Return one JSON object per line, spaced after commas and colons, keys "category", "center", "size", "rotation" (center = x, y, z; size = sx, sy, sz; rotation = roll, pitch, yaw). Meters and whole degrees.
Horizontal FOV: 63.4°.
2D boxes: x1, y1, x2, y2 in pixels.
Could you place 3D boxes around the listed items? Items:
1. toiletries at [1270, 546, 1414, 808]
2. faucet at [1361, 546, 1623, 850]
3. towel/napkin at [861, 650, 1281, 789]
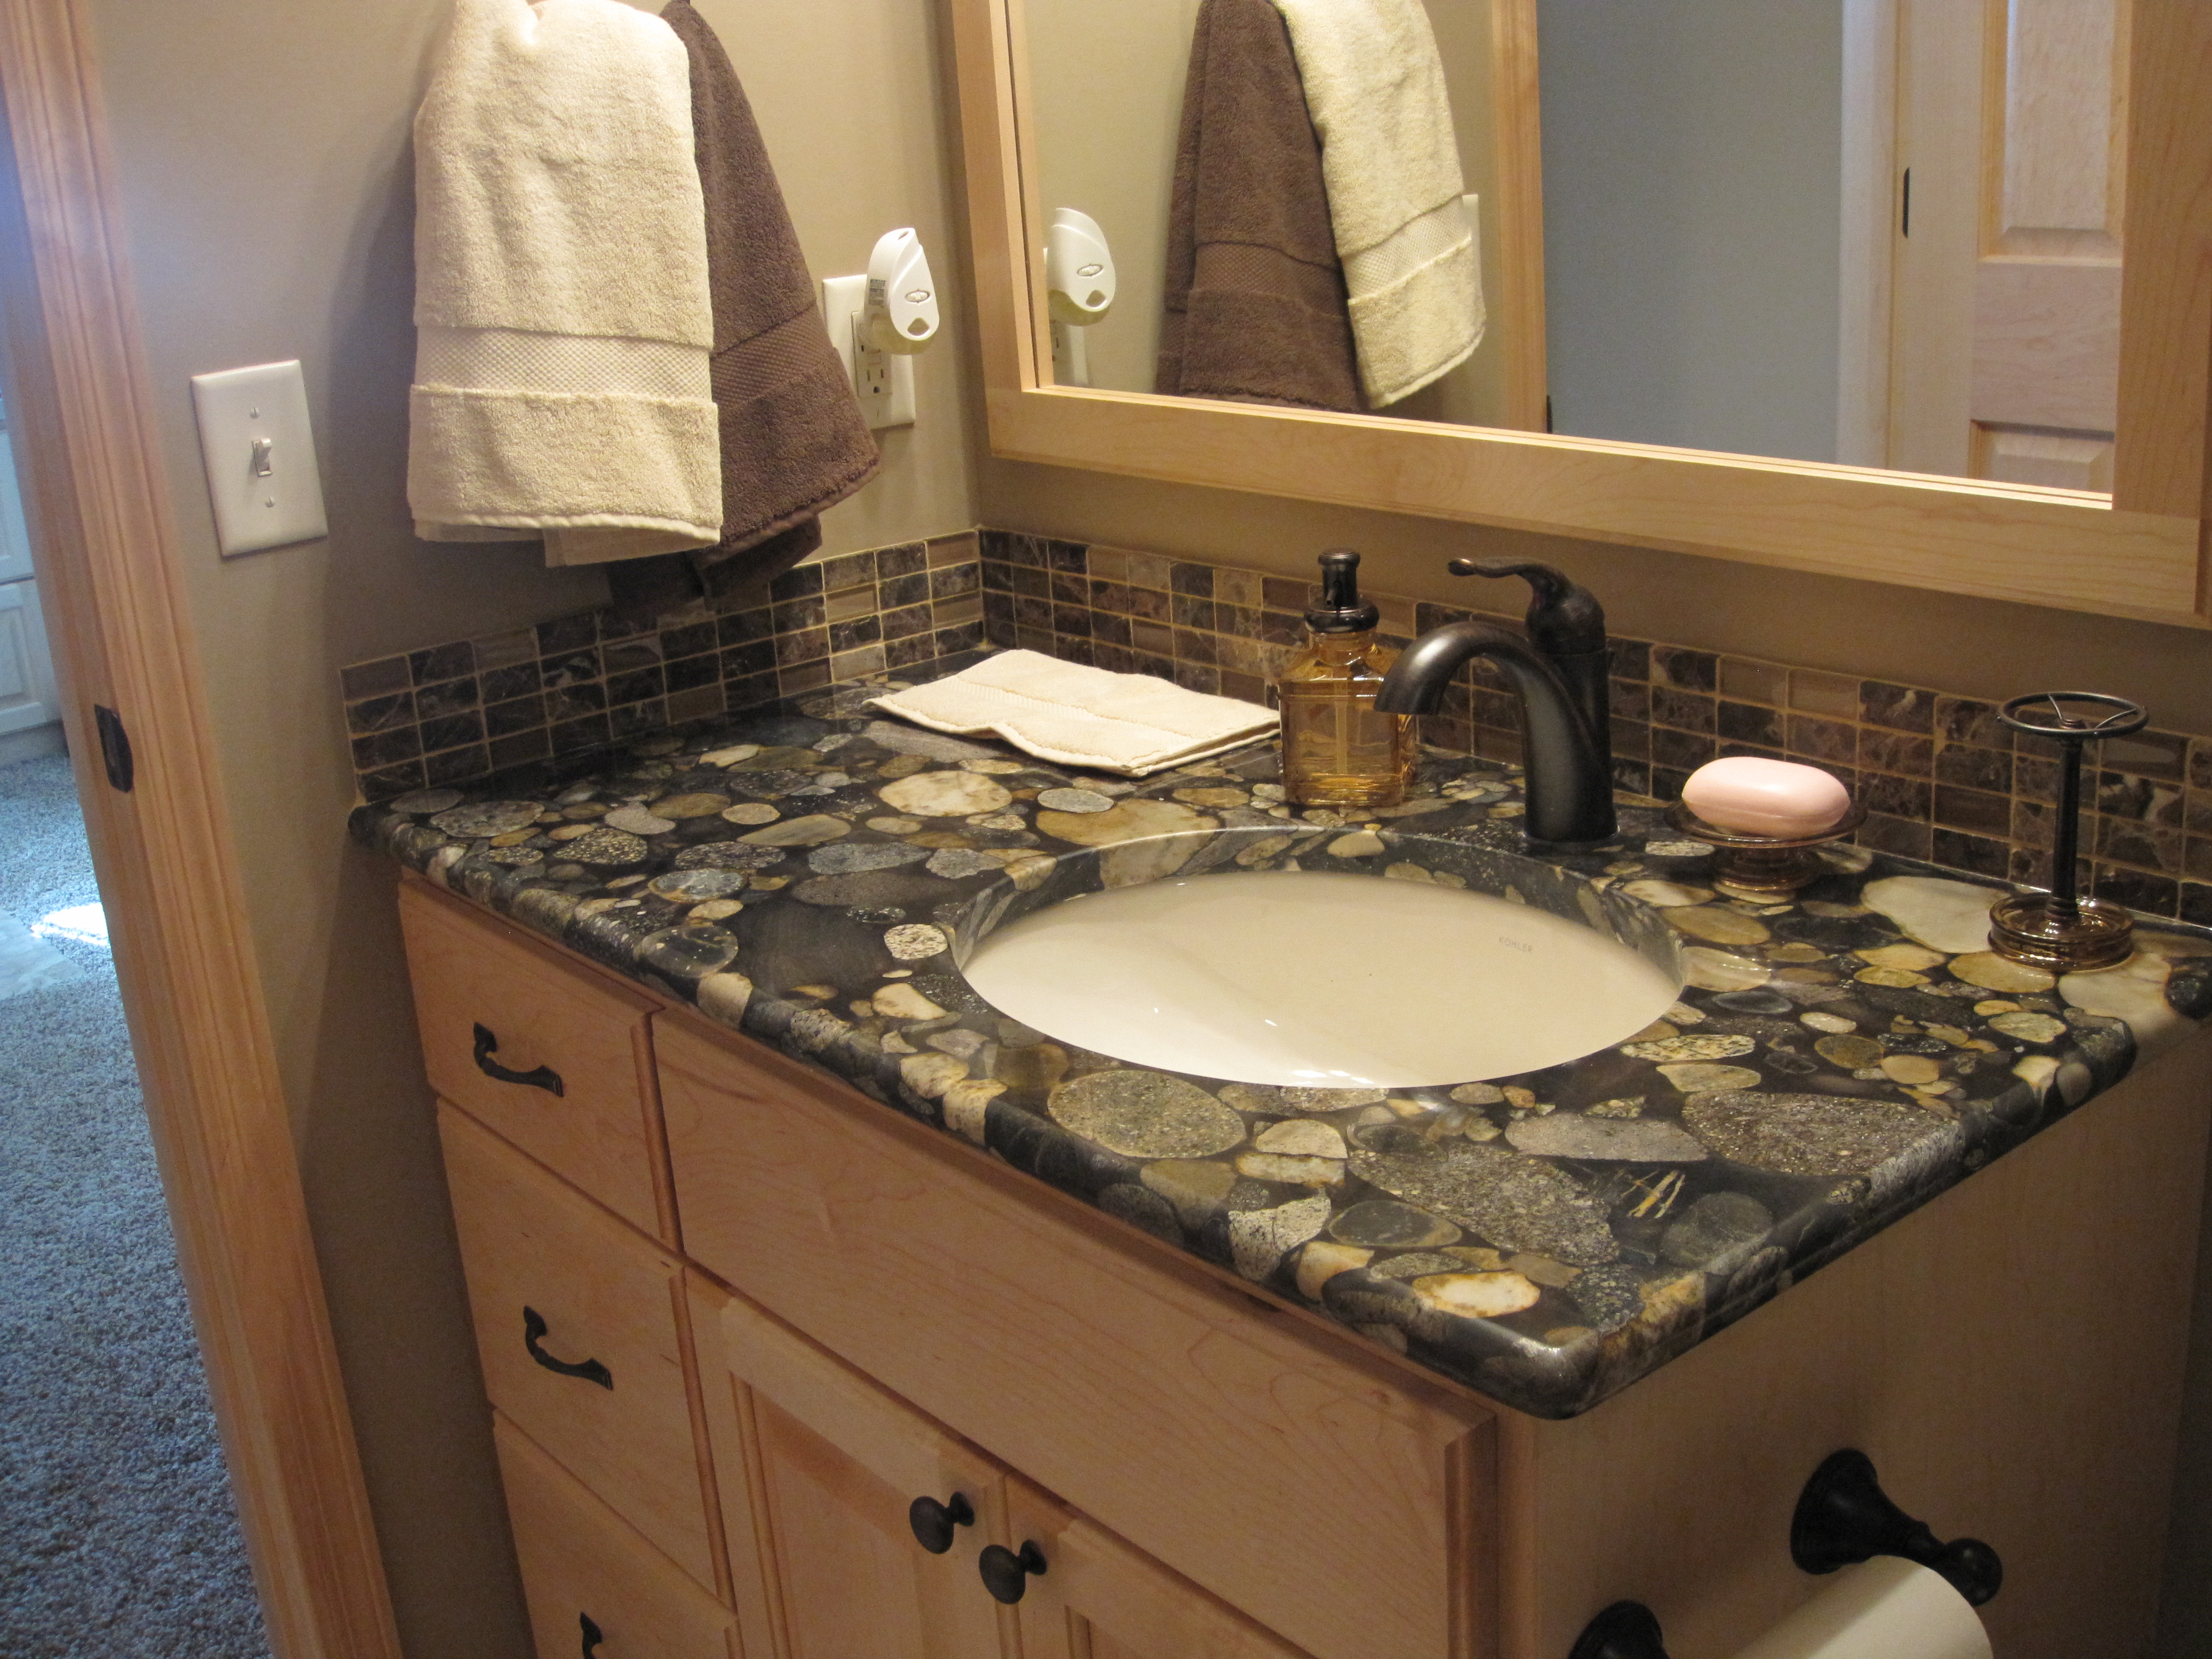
{"category": "toiletries", "center": [0.185, -0.120, 1.381], "size": [0.116, 0.188, 0.115], "rotation": [4, 13, 32]}
{"category": "faucet", "center": [0.275, -0.079, 1.246], "size": [0.213, 0.199, 0.072], "rotation": [-11, 15, -33]}
{"category": "towel/napkin", "center": [-0.039, -0.111, 1.600], "size": [0.182, 0.048, 0.375], "rotation": [-20, 24, -41]}
